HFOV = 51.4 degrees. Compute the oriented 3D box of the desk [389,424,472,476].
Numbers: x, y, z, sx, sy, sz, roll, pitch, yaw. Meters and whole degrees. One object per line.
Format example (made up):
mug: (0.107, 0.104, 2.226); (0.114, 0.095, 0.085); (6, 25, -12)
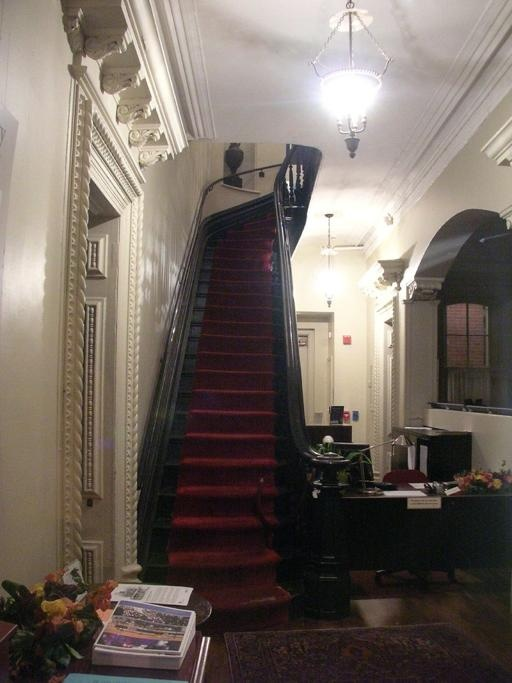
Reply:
desk: (1.766, 1.111, 5.296); (0.442, 0.462, 0.878); (0, -6, -1)
